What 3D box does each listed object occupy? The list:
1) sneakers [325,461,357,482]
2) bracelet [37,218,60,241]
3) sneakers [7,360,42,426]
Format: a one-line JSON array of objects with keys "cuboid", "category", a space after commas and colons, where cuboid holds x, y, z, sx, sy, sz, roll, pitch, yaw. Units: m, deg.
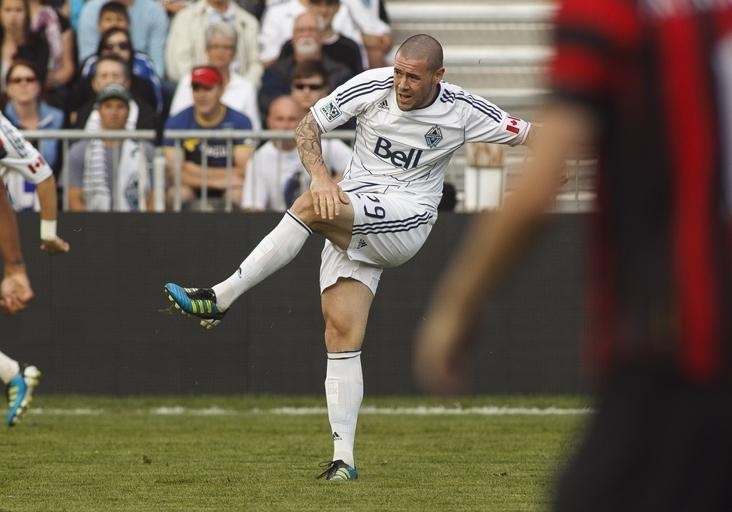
[{"cuboid": [-0.141, 1.156, 9.245, 0.153, 0.066, 0.087, 10, -14, -43], "category": "sneakers"}, {"cuboid": [-1.817, -0.145, 9.839, 0.111, 0.126, 0.111, 1, -1, -12], "category": "bracelet"}, {"cuboid": [-1.884, 0.752, 9.389, 0.129, 0.284, 0.266, 18, 30, -10], "category": "sneakers"}]
